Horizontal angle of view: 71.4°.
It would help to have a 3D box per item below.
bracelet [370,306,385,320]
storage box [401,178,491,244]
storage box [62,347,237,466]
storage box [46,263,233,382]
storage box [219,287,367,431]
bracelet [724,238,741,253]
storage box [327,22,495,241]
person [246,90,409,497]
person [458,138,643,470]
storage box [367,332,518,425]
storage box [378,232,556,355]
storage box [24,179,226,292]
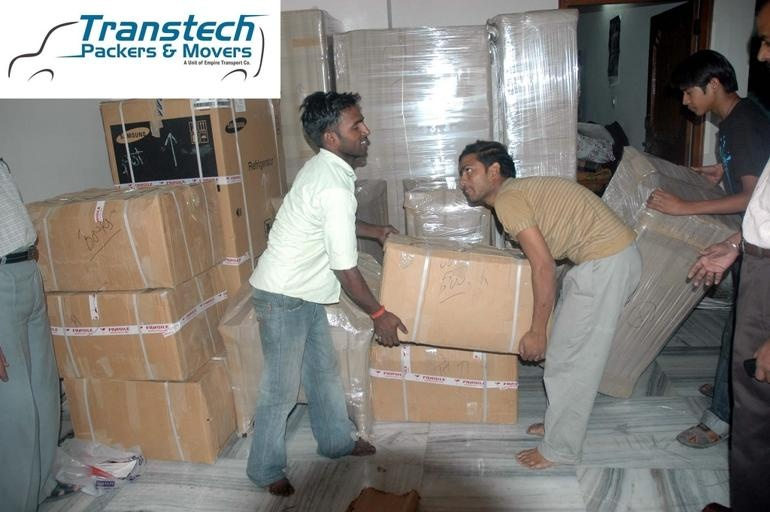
[{"bbox_3d":[-0.032,0.290,2.793,0.083,0.077,0.040,-7,19,-12],"label":"bracelet"},{"bbox_3d":[0.469,-0.295,3.820,0.594,0.424,0.572,0,1,16],"label":"storage box"},{"bbox_3d":[-1.295,0.907,3.058,0.824,0.442,0.578,-3,20,3],"label":"storage box"},{"bbox_3d":[-1.426,0.364,3.059,0.671,0.423,0.669,-6,4,39],"label":"storage box"},{"bbox_3d":[-0.627,0.558,3.586,1.212,0.700,1.163,2,9,-10],"label":"storage box"},{"bbox_3d":[1.759,-0.061,2.730,0.070,0.041,0.088,-4,32,-32],"label":"bracelet"},{"bbox_3d":[0.241,-0.823,4.130,1.256,1.554,0.991,-5,-21,12],"label":"storage box"},{"bbox_3d":[-0.414,0.192,2.879,0.919,2.033,0.573,-10,19,-18],"label":"person"},{"bbox_3d":[0.868,0.268,2.848,0.858,1.707,0.501,6,21,25],"label":"person"},{"bbox_3d":[0.350,0.722,3.597,0.891,0.483,0.426,1,4,3],"label":"storage box"},{"bbox_3d":[0.485,0.263,3.057,0.817,0.517,0.447,3,-8,14],"label":"storage box"},{"bbox_3d":[-1.538,-0.073,3.250,1.059,0.549,0.614,-6,2,23],"label":"storage box"}]
